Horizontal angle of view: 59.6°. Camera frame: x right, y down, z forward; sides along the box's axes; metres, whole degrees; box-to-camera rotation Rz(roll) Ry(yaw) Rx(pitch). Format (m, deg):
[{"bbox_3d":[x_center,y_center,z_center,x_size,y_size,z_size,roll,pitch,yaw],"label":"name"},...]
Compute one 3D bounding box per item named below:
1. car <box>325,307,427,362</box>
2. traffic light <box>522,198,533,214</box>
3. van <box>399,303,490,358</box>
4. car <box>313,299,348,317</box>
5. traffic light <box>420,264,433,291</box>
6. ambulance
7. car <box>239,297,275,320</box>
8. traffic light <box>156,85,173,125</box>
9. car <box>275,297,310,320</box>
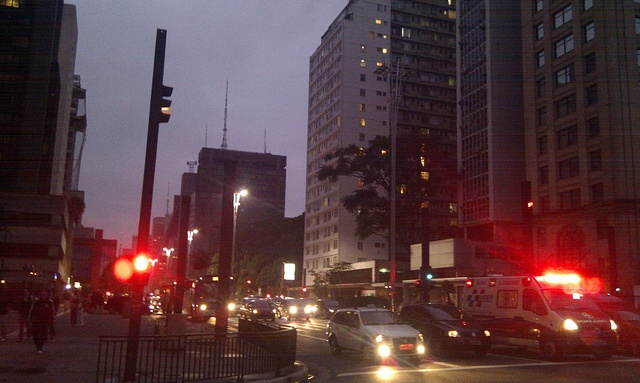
[{"bbox_3d":[3.410,8.910,35.097,3.088,2.434,5.225,7,-16,-35],"label":"car"},{"bbox_3d":[26.967,1.818,72.366,1.154,1.087,2.074,-2,4,24],"label":"traffic light"},{"bbox_3d":[8.174,9.154,38.020,3.850,2.960,7.355,4,-11,-26],"label":"van"},{"bbox_3d":[0.999,13.413,64.008,2.366,1.801,3.961,5,-17,-28],"label":"car"},{"bbox_3d":[9.855,8.024,51.966,1.081,2.288,1.317,-5,-17,16],"label":"traffic light"},{"bbox_3d":[13.794,8.526,38.079,5.385,4.430,9.650,7,-17,-24],"label":"ambulance"},{"bbox_3d":[-6.695,12.663,60.312,2.628,1.949,5.585,3,-15,-19],"label":"car"},{"bbox_3d":[-8.251,-4.625,29.674,0.605,2.016,0.608,5,-17,-16],"label":"traffic light"},{"bbox_3d":[-2.859,13.272,63.125,1.967,2.567,5.031,8,-18,-27],"label":"car"}]
